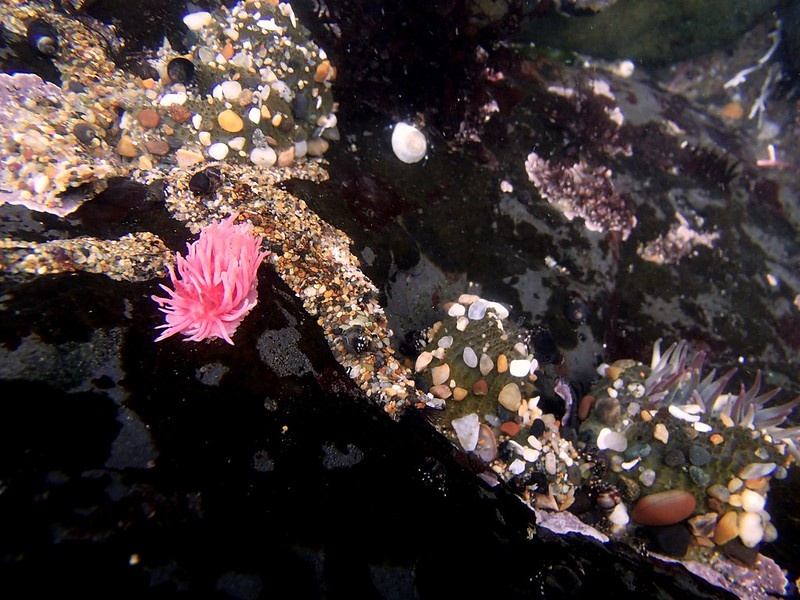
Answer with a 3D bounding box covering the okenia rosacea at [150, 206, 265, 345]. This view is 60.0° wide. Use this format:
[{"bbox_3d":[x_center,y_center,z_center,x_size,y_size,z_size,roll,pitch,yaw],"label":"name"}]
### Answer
[{"bbox_3d":[-1.274,-0.086,4.828,0.528,0.927,0.400,28,-13,-2],"label":"okenia rosacea"}]
